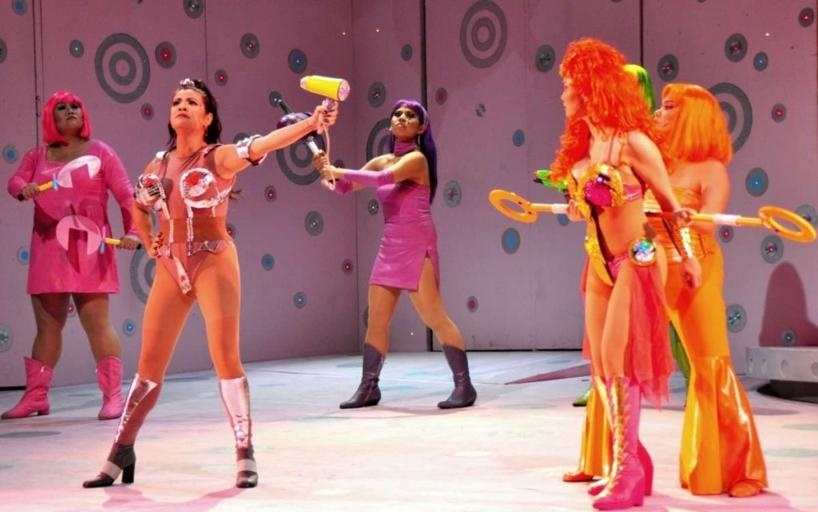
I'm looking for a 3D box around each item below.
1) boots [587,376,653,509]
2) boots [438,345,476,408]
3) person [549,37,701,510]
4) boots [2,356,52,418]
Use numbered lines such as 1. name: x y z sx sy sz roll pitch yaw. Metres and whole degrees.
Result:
1. boots: 0.999 0.890 3.619 0.253 0.600 0.107 -1 -2 5
2. boots: 0.343 0.874 5.563 0.270 0.435 0.265 -1 -2 5
3. person: 1.047 0.062 3.747 0.640 2.262 0.343 -1 -2 10
4. boots: -2.845 0.954 5.549 0.342 0.419 0.156 0 -2 -26
